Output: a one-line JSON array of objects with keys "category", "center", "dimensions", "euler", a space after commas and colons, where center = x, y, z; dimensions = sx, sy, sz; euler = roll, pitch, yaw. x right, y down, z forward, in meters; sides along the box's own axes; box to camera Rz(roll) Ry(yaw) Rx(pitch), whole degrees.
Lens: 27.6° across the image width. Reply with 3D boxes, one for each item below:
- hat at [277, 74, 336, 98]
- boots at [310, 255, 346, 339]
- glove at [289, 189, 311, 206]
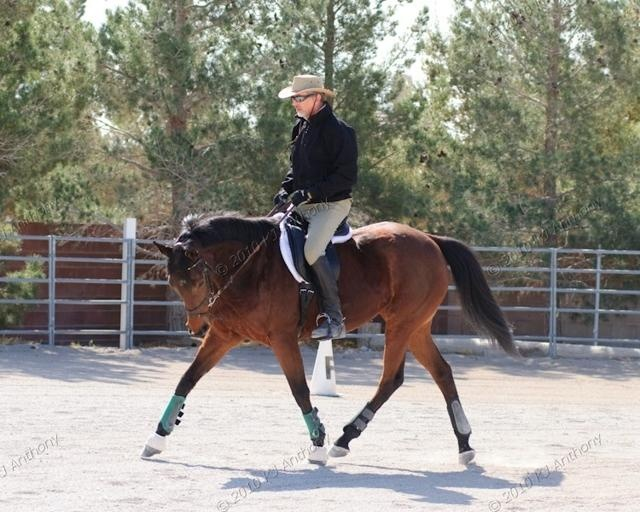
[{"category": "hat", "center": [-0.119, -2.472, 19.166], "dimensions": [0.490, 0.228, 0.583], "euler": [1, 0, 26]}, {"category": "boots", "center": [0.121, 0.612, 18.781], "dimensions": [0.489, 1.213, 0.316], "euler": [-1, -1, -7]}, {"category": "glove", "center": [-0.284, -0.848, 18.933], "dimensions": [0.292, 0.227, 0.229], "euler": [-1, -1, -7]}]
